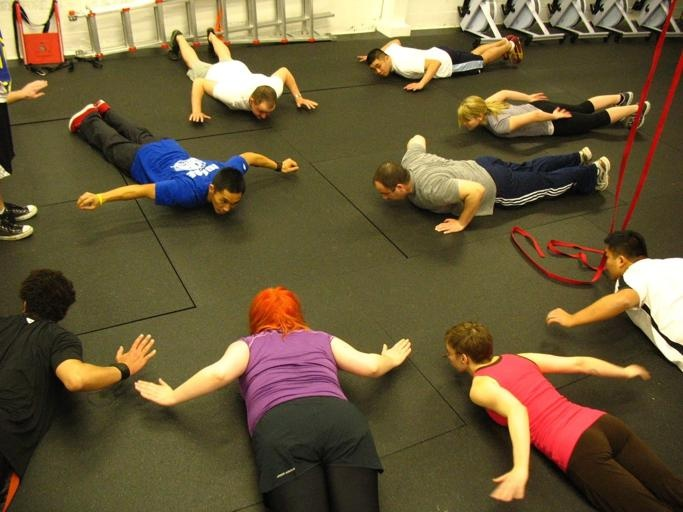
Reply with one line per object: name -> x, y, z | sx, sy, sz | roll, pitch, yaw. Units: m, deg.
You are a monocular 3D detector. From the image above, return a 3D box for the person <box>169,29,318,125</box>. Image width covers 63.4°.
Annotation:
person -> -1.144, -1.887, 5.678 | 1.343, 0.413, 1.834 | -21, 51, -29

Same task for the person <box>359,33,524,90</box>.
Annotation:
person -> 1.224, -2.392, 6.659 | 1.927, 0.434, 1.339 | -15, 36, -15

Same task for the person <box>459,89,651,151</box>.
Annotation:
person -> 2.068, -1.395, 5.552 | 1.722, 0.464, 0.583 | -8, 25, 3

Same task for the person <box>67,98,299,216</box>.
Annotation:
person -> -1.469, -0.771, 4.223 | 1.092, 0.382, 1.201 | 42, 42, 20

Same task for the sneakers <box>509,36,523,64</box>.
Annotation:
sneakers -> 2.176, -2.589, 6.888 | 0.147, 0.180, 0.391 | -2, 45, 6

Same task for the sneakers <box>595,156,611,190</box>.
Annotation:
sneakers -> 2.249, -0.701, 4.694 | 0.135, 0.351, 0.169 | 4, 8, 31

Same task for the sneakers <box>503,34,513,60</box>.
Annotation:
sneakers -> 2.043, -2.627, 6.878 | 0.117, 0.322, 0.143 | 4, 3, 21

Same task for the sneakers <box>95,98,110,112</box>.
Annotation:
sneakers -> -2.078, -1.319, 4.854 | 0.137, 0.080, 0.227 | -10, 31, -28

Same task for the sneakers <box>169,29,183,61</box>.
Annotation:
sneakers -> -1.782, -2.281, 5.989 | 0.139, 0.339, 0.107 | -6, 19, -23

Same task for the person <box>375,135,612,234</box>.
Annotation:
person -> 1.163, -0.587, 4.341 | 1.796, 0.403, 0.878 | -7, 31, -14
